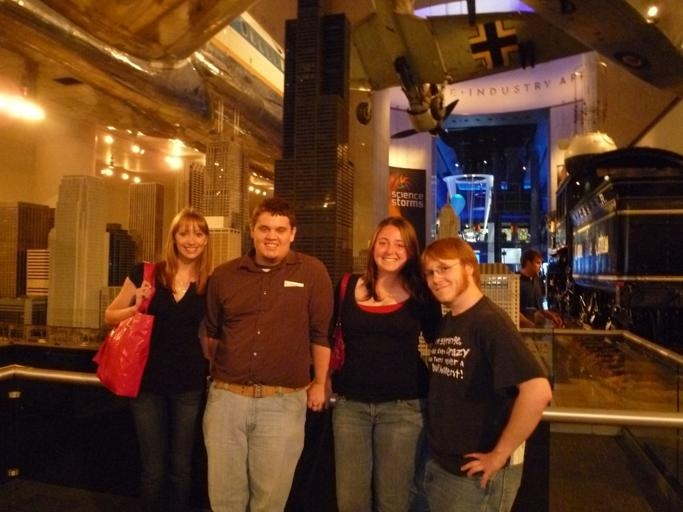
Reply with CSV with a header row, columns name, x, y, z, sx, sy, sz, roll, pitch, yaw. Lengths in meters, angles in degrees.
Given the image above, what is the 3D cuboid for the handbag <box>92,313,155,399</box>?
name,x,y,z,sx,sy,sz,roll,pitch,yaw
handbag,-1.630,0.762,4.189,0.417,0.676,0.226,0,0,14

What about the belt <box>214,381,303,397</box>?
name,x,y,z,sx,sy,sz,roll,pitch,yaw
belt,-0.578,0.924,3.875,0.622,0.101,0.116,0,1,-3
